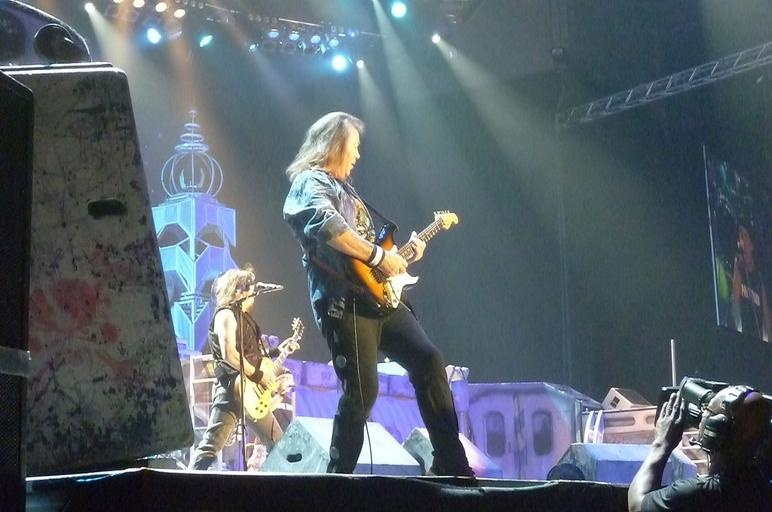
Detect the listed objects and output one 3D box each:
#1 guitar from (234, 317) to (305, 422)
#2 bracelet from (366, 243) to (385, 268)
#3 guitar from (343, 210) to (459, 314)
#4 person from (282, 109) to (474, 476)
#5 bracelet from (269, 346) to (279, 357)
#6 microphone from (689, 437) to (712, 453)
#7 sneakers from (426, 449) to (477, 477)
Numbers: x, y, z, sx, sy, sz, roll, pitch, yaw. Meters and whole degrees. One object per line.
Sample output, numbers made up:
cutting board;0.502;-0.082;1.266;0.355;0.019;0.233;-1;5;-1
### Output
guitar;-1.077;1.091;7.585;0.169;0.510;1.356;-20;11;16
bracelet;-0.052;0.003;4.362;0.026;0.108;0.113;0;-46;31
guitar;0.002;0.042;4.834;0.107;0.372;0.949;-29;11;31
person;-0.078;0.126;4.353;1.051;2.015;0.709;4;-9;-5
bracelet;-0.954;0.816;6.881;0.071;0.055;0.073;-4;-34;3
microphone;1.312;0.779;3.361;0.048;0.047;0.125;-12;-19;34
sneakers;0.328;1.070;4.140;0.129;0.130;0.154;11;-29;-20
